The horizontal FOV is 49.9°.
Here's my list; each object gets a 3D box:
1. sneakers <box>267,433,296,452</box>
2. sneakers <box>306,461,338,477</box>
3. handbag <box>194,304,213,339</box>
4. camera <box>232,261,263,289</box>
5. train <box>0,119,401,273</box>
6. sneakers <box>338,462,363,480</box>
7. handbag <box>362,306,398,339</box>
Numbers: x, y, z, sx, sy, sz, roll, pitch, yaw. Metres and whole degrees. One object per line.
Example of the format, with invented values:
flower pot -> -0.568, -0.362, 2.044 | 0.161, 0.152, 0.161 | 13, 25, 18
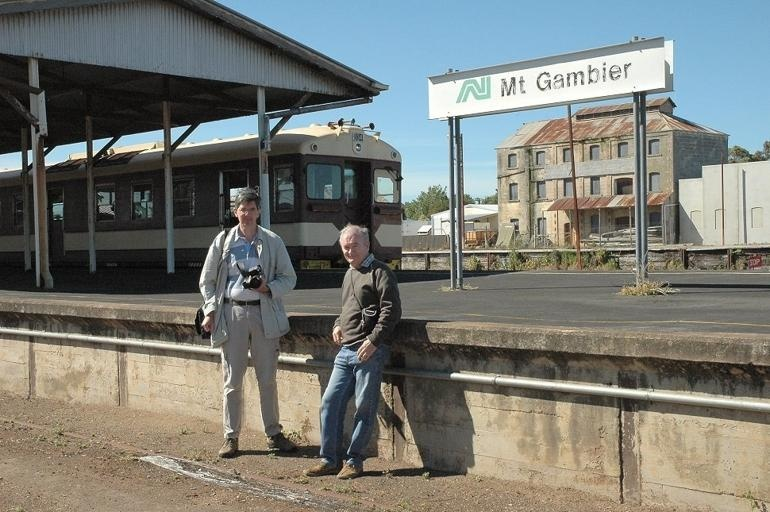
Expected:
sneakers -> -1.324, 2.365, 10.550 | 0.366, 0.246, 0.193 | -4, 1, 15
sneakers -> -0.751, 2.534, 9.845 | 0.411, 0.178, 0.162 | 3, -3, -19
handbag -> -2.300, 0.831, 10.384 | 0.130, 0.385, 0.259 | 4, -6, 39
camera -> -1.701, 0.244, 10.197 | 0.303, 0.203, 0.519 | 1, 1, -3
train -> -7.886, -1.688, 27.233 | 17.579, 4.905, 4.568 | -1, 2, 39
sneakers -> -0.421, 2.529, 9.742 | 0.144, 0.127, 0.288 | -6, -11, 38
handbag -> -0.082, 0.749, 9.555 | 0.363, 0.423, 0.290 | 2, -5, -15
